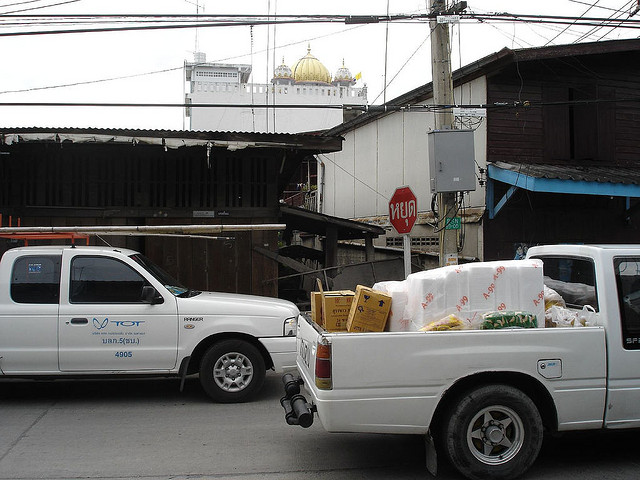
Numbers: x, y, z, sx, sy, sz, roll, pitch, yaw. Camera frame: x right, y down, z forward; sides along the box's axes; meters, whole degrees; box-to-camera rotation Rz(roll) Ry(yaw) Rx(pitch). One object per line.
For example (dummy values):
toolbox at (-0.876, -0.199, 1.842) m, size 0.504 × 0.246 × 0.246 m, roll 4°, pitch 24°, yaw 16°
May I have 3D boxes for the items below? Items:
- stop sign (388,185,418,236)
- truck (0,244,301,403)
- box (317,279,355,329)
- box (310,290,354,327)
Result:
stop sign at (1.378, -0.483, 13.193) m, size 0.334 × 0.839 × 0.879 m, roll -2°, pitch 7°, yaw -16°
truck at (-2.500, 1.154, 12.195) m, size 4.109 × 1.905 × 2.119 m, roll -1°, pitch -2°, yaw -6°
box at (0.170, 0.734, 9.891) m, size 0.579 × 0.659 × 0.358 m, roll -3°, pitch 7°, yaw -14°
box at (0.157, 0.897, 10.194) m, size 0.502 × 0.464 × 0.169 m, roll -1°, pitch 11°, yaw -31°
